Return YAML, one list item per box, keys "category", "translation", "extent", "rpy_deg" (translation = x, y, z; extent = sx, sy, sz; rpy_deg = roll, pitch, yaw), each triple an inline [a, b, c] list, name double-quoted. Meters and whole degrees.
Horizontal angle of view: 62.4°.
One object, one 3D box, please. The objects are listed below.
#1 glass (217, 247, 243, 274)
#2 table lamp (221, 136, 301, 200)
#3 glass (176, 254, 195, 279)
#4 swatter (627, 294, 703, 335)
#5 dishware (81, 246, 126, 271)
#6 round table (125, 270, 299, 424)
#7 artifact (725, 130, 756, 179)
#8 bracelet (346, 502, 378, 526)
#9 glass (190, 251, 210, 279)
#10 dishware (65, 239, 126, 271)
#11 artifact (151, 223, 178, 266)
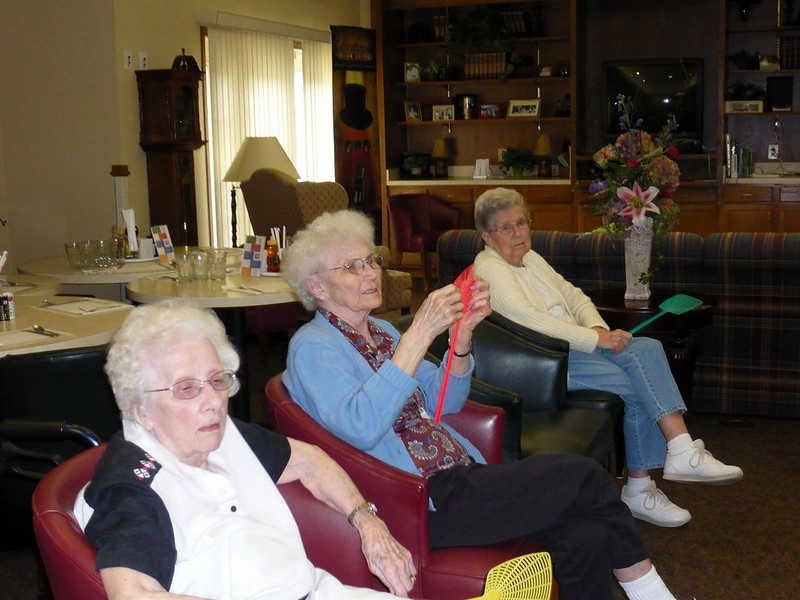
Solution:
- category: "glass"
  translation: [-1.111, -0.275, 4.390]
  extent: [0.183, 0.078, 0.304]
  rpy_deg: [-2, 18, -10]
- category: "table lamp"
  translation: [-1.283, -1.266, 5.924]
  extent: [0.541, 0.726, 0.607]
  rpy_deg: [10, 12, 30]
- category: "glass"
  translation: [-1.172, -0.182, 3.618]
  extent: [0.114, 0.161, 0.113]
  rpy_deg: [-1, -1, 1]
- category: "swatter"
  translation: [1.258, 0.049, 3.142]
  extent: [0.367, 0.221, 0.374]
  rpy_deg: [5, 11, 21]
- category: "dishware"
  translation: [-1.832, -0.256, 4.063]
  extent: [0.172, 0.142, 0.150]
  rpy_deg: [-6, 12, -28]
- category: "round table"
  translation: [-0.947, 0.069, 3.620]
  extent: [0.847, 0.833, 0.880]
  rpy_deg: [4, 10, -1]
- category: "artifact"
  translation: [3.728, -1.572, 7.196]
  extent: [0.489, 0.467, 0.237]
  rpy_deg: [-12, 14, -39]
- category: "bracelet"
  translation: [-0.091, 0.527, 1.655]
  extent: [0.054, 0.024, 0.056]
  rpy_deg: [-28, -2, -11]
- category: "glass"
  translation: [-1.098, -0.203, 3.702]
  extent: [0.111, 0.185, 0.118]
  rpy_deg: [0, 1, -10]
- category: "dishware"
  translation: [-1.882, -0.281, 4.089]
  extent: [0.310, 0.161, 0.217]
  rpy_deg: [-6, 11, -22]
- category: "artifact"
  translation: [-1.518, -0.352, 4.229]
  extent: [0.112, 0.233, 0.432]
  rpy_deg: [-7, 12, -21]
